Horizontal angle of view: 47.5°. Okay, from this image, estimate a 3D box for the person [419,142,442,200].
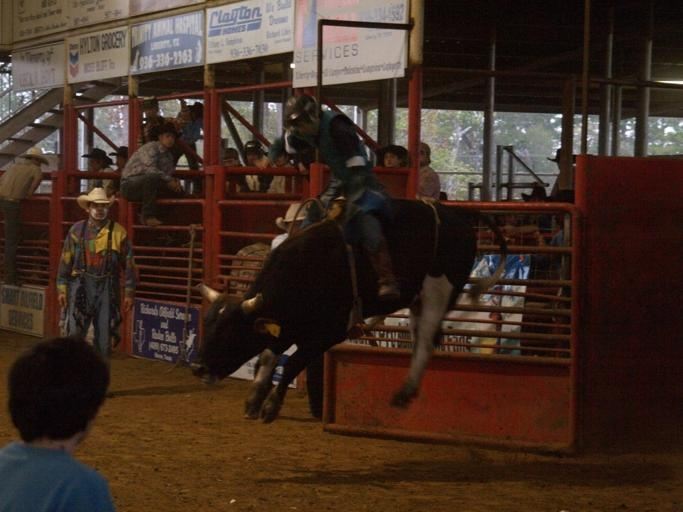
[{"bbox_3d":[1.213,-1.181,10.753,0.261,0.784,0.937,1,3,7],"label":"person"}]

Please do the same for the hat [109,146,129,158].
[{"bbox_3d":[-3.803,-1.757,13.293,0.348,0.134,0.398,-4,-1,-34],"label":"hat"}]

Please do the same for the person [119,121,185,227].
[{"bbox_3d":[-2.663,-1.142,10.935,0.899,1.399,0.865,0,1,-14],"label":"person"}]

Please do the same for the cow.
[{"bbox_3d":[0.185,0.381,6.090,2.947,1.500,0.771,-6,5,-32],"label":"cow"}]

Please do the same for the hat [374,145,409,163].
[{"bbox_3d":[0.613,-1.346,9.984,0.282,0.086,0.314,15,-23,-36],"label":"hat"}]

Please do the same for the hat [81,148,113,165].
[{"bbox_3d":[-4.347,-1.787,13.944,0.435,0.164,0.476,7,-2,-22],"label":"hat"}]

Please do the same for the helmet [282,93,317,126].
[{"bbox_3d":[-0.306,-1.107,5.889,0.244,0.243,0.130,0,3,-3],"label":"helmet"}]
